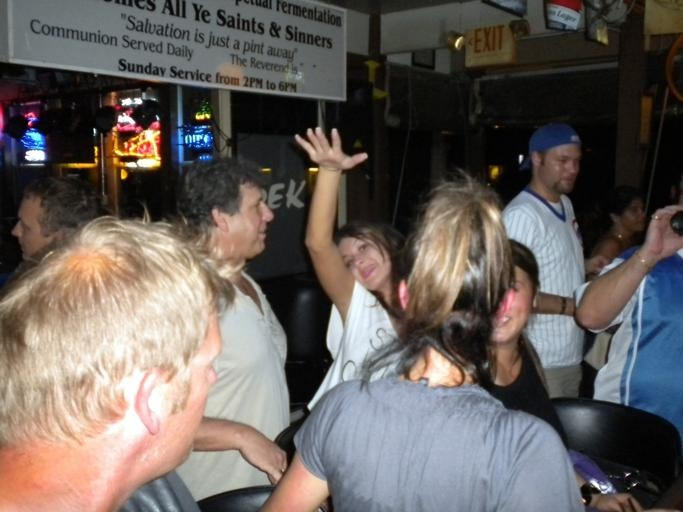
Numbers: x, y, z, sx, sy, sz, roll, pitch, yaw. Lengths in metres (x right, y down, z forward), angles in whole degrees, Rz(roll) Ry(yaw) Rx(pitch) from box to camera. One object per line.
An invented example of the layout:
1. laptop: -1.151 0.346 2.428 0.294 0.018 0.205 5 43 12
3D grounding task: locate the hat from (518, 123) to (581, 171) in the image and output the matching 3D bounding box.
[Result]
1. hat: 1.259 -0.655 3.654 0.320 0.265 0.249 -5 9 33

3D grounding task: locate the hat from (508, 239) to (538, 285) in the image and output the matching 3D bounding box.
1. hat: 0.636 0.046 2.086 0.098 0.165 0.311 2 16 17
